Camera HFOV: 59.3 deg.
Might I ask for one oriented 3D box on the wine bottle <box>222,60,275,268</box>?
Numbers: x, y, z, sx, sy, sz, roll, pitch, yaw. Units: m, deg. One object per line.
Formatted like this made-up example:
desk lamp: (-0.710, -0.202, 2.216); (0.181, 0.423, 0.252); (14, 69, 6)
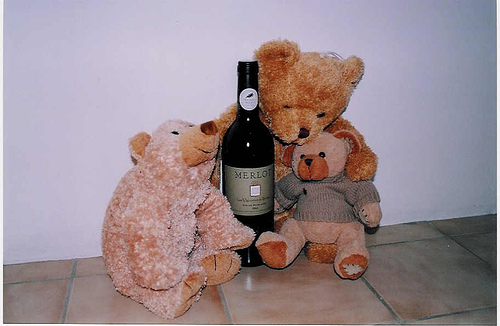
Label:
wine bottle: (-0.011, 0.001, 1.466); (0.157, 0.654, 0.172); (0, 13, 0)

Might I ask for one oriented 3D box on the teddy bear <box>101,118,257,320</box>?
teddy bear: (-0.221, 0.155, 1.339); (0.312, 0.561, 0.365); (13, 25, 37)

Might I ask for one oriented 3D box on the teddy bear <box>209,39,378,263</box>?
teddy bear: (0.119, -0.029, 1.436); (0.616, 0.655, 0.439); (-3, 35, -12)

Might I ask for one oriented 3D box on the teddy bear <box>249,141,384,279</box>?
teddy bear: (0.227, 0.125, 1.479); (0.408, 0.406, 0.348); (5, 29, 31)
